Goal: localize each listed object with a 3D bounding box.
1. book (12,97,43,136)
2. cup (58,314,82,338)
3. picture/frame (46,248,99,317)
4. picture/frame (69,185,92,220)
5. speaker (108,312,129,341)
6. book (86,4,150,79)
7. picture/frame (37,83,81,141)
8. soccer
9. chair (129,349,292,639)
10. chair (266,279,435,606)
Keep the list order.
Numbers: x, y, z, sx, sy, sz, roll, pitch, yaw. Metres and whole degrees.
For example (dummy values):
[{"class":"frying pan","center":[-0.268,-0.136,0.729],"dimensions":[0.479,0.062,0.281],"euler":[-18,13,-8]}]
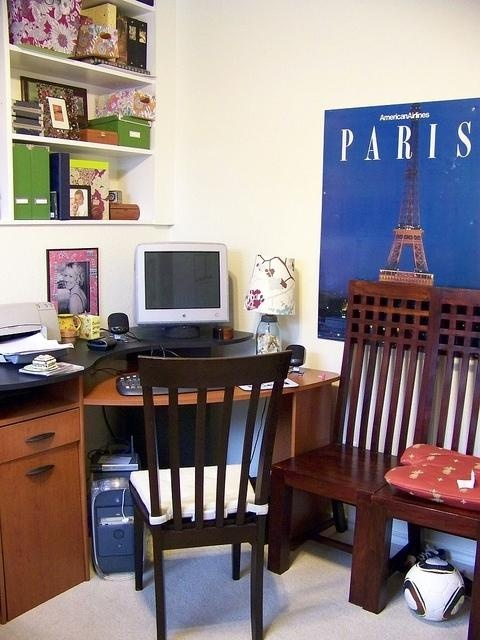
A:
[{"class":"book","center":[-0.839,-0.793,2.040],"dimensions":[0.040,0.124,0.144],"euler":[7,13,28]},{"class":"cup","center":[-0.716,0.023,2.150],"dimensions":[0.096,0.105,0.064],"euler":[0,4,-27]},{"class":"picture/frame","center":[-0.759,-0.175,2.296],"dimensions":[0.013,0.318,0.256],"euler":[4,12,28]},{"class":"picture/frame","center":[-0.717,-0.525,2.288],"dimensions":[0.017,0.165,0.137],"euler":[13,17,22]},{"class":"speaker","center":[-0.540,0.015,2.278],"dimensions":[0.093,0.145,0.108],"euler":[2,0,-30]},{"class":"book","center":[-0.579,-1.325,2.437],"dimensions":[0.190,0.314,0.309],"euler":[8,13,32]},{"class":"picture/frame","center":[-0.791,-0.908,2.267],"dimensions":[0.088,0.223,0.219],"euler":[5,12,21]},{"class":"soccer","center":[0.607,0.846,1.665],"dimensions":[0.174,0.209,0.185],"euler":[-2,-12,15]},{"class":"chair","center":[-0.116,0.511,1.558],"dimensions":[0.424,0.976,0.506],"euler":[-2,11,-14]},{"class":"chair","center":[0.446,0.430,1.940],"dimensions":[0.544,1.096,0.514],"euler":[1,3,-35]}]
